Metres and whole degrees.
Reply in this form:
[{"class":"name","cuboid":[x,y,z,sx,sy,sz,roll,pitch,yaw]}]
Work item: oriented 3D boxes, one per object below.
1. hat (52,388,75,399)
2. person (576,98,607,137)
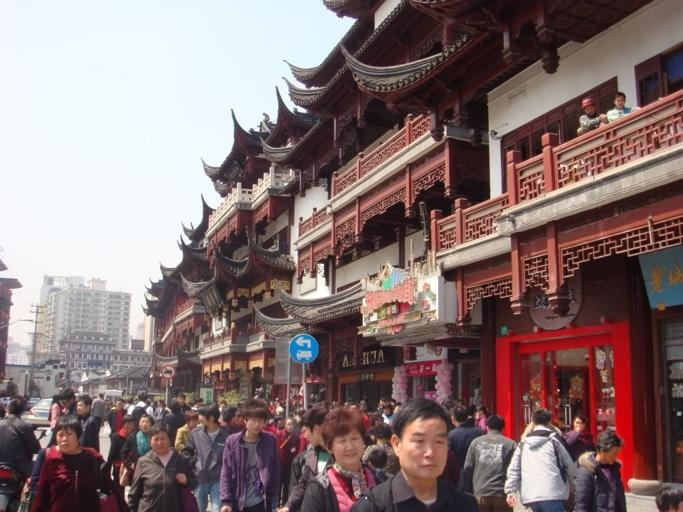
[{"class":"hat","cuboid":[-5.517,2.748,13.016,0.566,0.196,0.419,-7,-8,32]},{"class":"person","cuboid":[4.743,-2.552,12.546,0.507,0.904,0.570,-7,7,-18]}]
